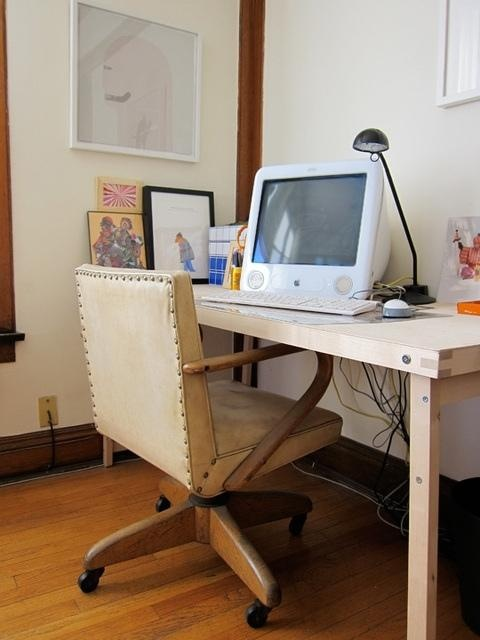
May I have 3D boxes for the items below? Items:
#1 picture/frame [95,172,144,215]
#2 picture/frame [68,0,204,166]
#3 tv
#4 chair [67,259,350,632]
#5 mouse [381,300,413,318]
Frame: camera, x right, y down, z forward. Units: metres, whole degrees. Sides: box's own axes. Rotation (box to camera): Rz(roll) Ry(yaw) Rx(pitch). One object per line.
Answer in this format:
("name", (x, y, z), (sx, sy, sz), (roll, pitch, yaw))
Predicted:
("picture/frame", (-0.497, -0.511, 2.028), (0.179, 0.138, 0.013), (-3, 3, -39))
("picture/frame", (-0.438, -0.963, 2.014), (0.674, 0.672, 0.045), (-9, 15, -38))
("tv", (0.232, -0.260, 1.478), (0.411, 0.405, 0.236), (8, 5, 41))
("chair", (-0.085, 0.249, 1.235), (0.617, 0.783, 0.567), (-8, 13, -36))
("mouse", (0.335, -0.029, 1.085), (0.043, 0.029, 0.045), (2, 3, -4))
